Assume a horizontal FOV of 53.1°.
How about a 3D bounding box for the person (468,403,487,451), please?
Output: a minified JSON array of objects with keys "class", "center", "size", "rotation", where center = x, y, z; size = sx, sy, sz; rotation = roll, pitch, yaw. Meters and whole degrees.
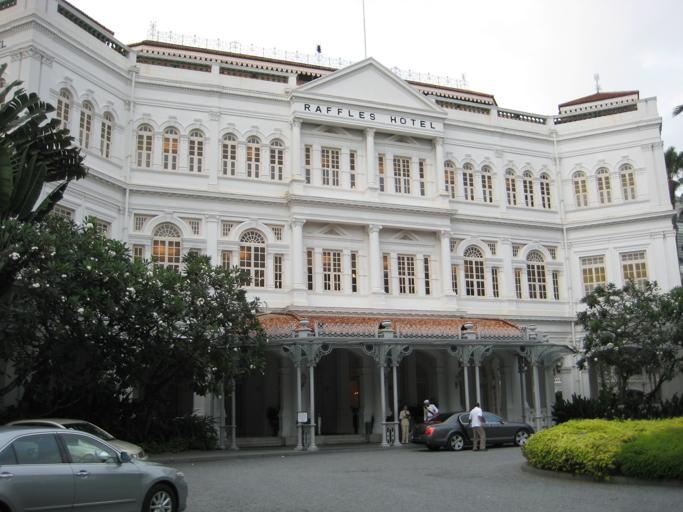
[{"class":"person","center":[5.080,6.404,25.499],"size":[0.583,1.692,1.480],"rotation":[-5,-17,10]}]
